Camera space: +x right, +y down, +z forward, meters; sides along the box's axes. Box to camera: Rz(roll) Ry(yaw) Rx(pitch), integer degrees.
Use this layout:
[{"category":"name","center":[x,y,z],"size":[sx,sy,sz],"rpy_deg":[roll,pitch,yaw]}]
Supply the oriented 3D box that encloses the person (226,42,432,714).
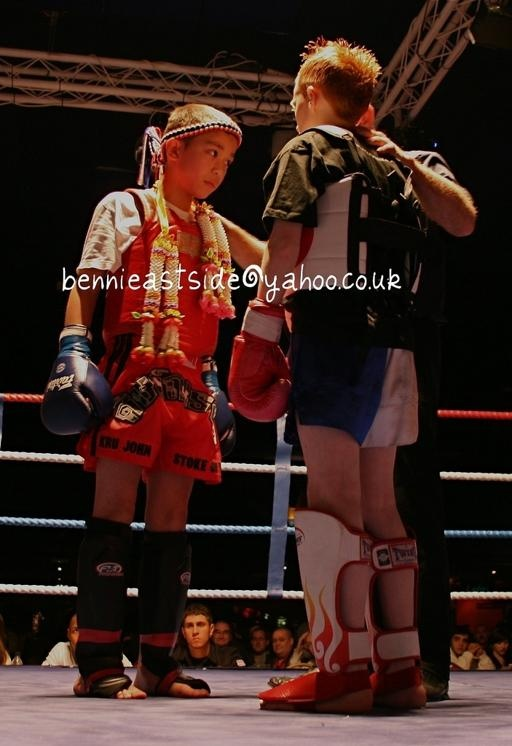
[{"category":"person","center":[0.179,-0.066,1.554],"size":[0.452,1.460,0.314],"rpy_deg":[6,-10,-6]}]

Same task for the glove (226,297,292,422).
[{"category":"glove","center":[0.009,-0.023,1.529],"size":[0.196,0.219,0.110],"rpy_deg":[3,10,-12]}]

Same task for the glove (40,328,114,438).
[{"category":"glove","center":[-0.395,0.013,1.595],"size":[0.149,0.242,0.107],"rpy_deg":[-1,-12,32]}]
